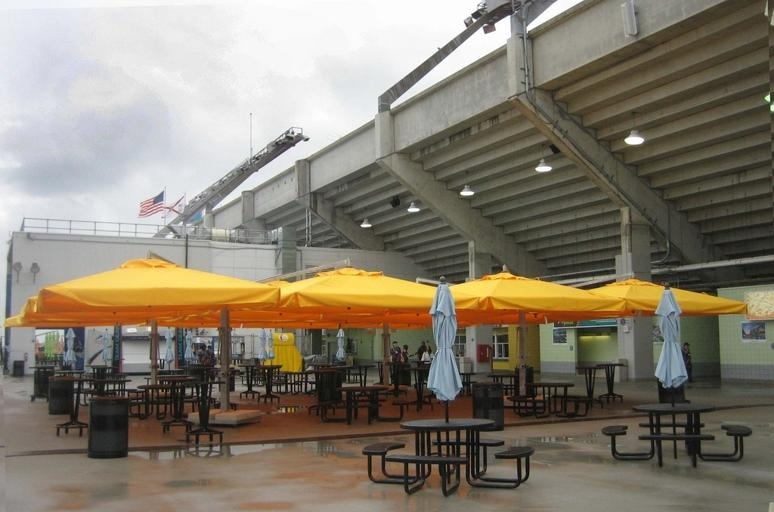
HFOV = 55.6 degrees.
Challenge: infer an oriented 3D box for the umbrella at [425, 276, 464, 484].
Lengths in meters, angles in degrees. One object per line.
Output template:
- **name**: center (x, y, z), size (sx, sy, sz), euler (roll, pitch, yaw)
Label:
- **umbrella**: center (1.081, 1.817, 14.231), size (0.607, 2.718, 1.169), euler (-2, -12, 4)

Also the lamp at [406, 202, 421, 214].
- **lamp**: center (1.281, -2.389, 35.511), size (0.735, 0.641, 0.685), euler (-1, -14, 2)

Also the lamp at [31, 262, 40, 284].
- **lamp**: center (-17.581, 0.808, 36.786), size (0.447, 0.898, 0.147), euler (2, 12, -19)

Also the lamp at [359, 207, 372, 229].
- **lamp**: center (-1.157, -2.012, 41.482), size (1.050, 0.920, 0.934), euler (-4, -10, 8)
